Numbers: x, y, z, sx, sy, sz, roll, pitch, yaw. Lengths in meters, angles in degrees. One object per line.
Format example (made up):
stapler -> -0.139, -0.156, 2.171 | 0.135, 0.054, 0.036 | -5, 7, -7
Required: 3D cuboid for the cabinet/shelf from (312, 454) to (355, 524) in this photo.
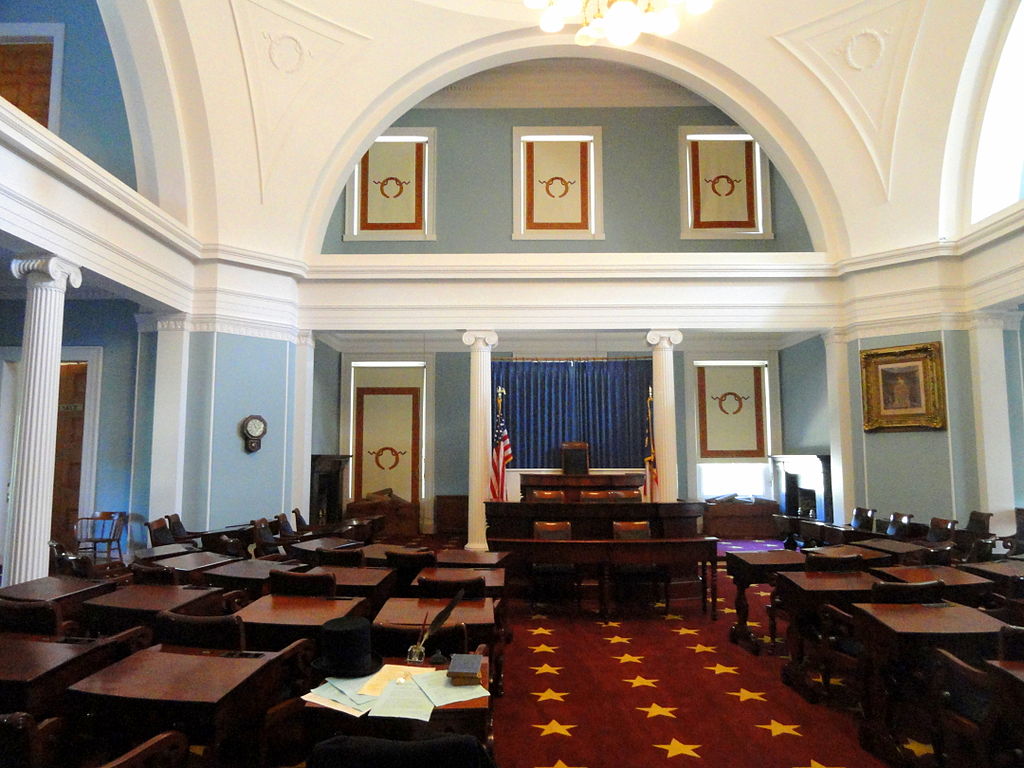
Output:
cabinet/shelf -> -3.624, 2.134, 15.943 | 0.440, 1.231, 1.393 | 0, -3, -3
